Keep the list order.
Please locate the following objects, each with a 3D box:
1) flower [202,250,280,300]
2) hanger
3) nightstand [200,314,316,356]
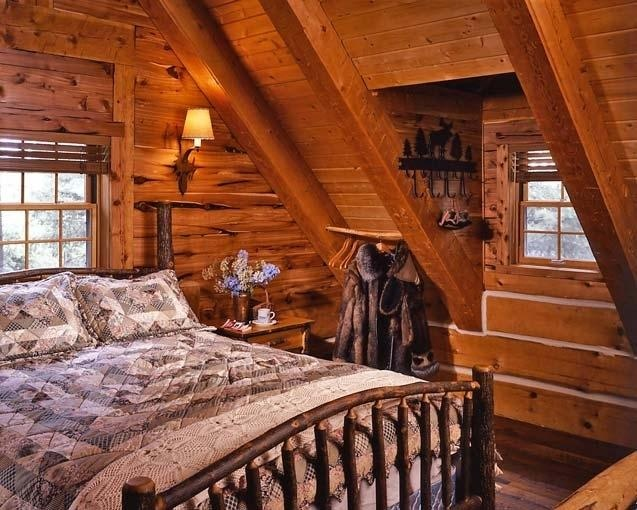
[{"bbox_3d":[-0.675,0.148,3.911,0.591,0.443,0.469,18,9,15],"label":"flower"},{"bbox_3d":[0.495,-0.091,4.318,0.627,0.404,0.468,6,8,39],"label":"hanger"},{"bbox_3d":[-0.419,0.662,3.802,0.752,0.274,0.825,8,8,43],"label":"nightstand"}]
